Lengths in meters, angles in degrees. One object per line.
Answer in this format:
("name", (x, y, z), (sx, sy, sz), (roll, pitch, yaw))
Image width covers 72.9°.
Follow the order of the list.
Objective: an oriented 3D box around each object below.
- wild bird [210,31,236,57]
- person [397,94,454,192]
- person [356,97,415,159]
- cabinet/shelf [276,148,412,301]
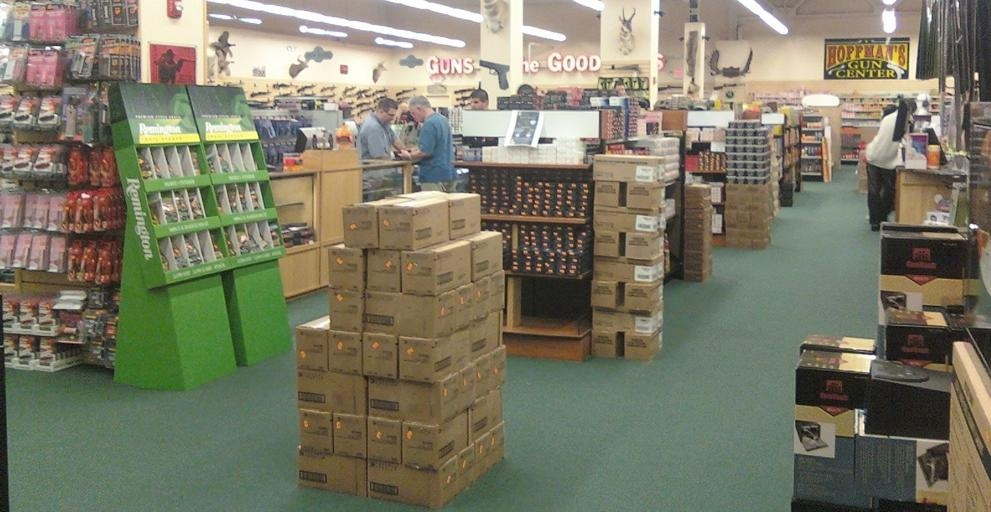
("wild bird", (-9.172, -7.144, 22.571), (0.309, 0.756, 1.092), (1, 14, 11))
("person", (-0.970, -1.623, 9.849), (0.751, 1.392, 0.813), (-3, 14, -7))
("person", (-1.825, -1.937, 10.973), (0.965, 1.184, 0.764), (-1, 22, -13))
("cabinet/shelf", (-1.847, -0.354, 7.677), (0.764, 1.346, 2.238), (1, 11, 15))
